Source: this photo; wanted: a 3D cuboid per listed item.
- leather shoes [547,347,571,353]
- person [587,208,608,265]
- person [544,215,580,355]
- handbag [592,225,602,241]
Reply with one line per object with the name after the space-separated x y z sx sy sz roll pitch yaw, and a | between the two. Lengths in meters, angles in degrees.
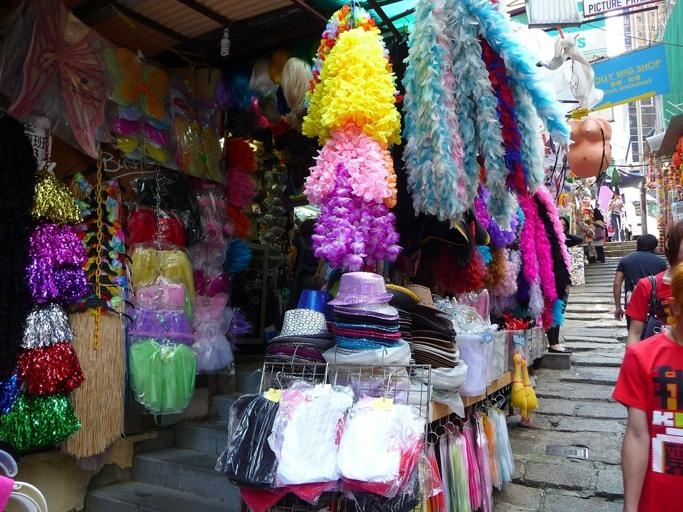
3.146 1.366 7.278 0.262 0.081 0.151 -6 -9 12 | leather shoes
7.669 -0.598 15.102 0.374 1.628 0.878 -1 -4 28 | person
3.048 0.449 7.021 0.490 2.149 0.532 -26 23 -39 | person
7.718 -0.678 15.188 0.345 0.432 0.375 -1 -6 5 | handbag
